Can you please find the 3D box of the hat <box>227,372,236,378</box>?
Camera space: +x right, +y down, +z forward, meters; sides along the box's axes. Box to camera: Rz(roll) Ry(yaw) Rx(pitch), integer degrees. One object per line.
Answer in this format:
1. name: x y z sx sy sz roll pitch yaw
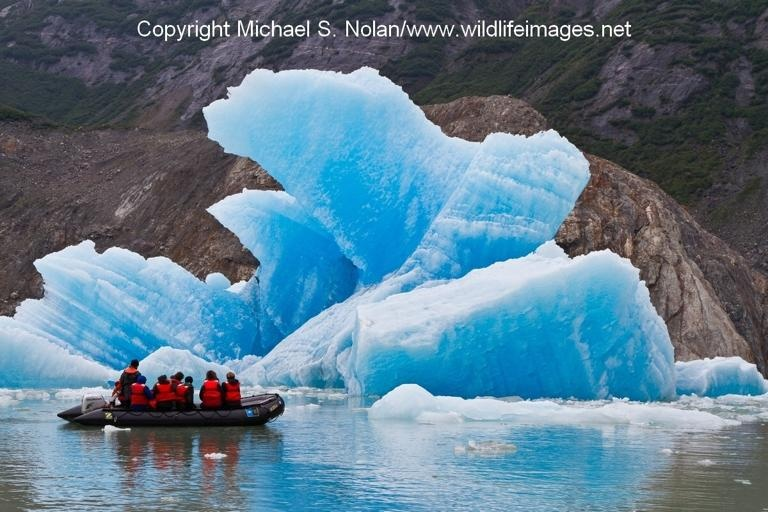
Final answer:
1. hat: -7.732 6.175 55.103 0.328 0.266 0.387 4 7 1
